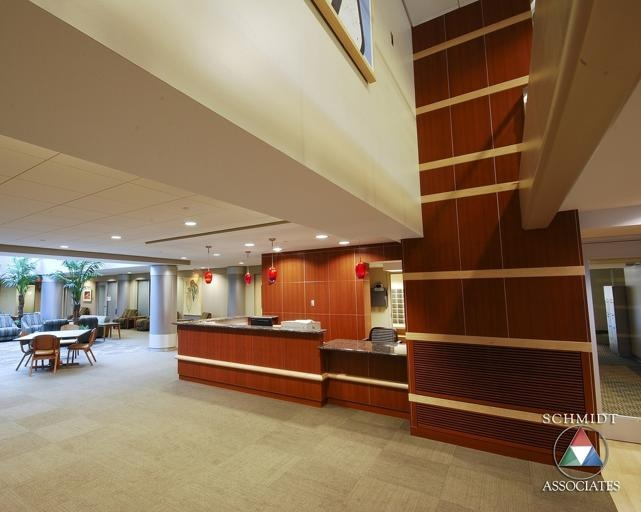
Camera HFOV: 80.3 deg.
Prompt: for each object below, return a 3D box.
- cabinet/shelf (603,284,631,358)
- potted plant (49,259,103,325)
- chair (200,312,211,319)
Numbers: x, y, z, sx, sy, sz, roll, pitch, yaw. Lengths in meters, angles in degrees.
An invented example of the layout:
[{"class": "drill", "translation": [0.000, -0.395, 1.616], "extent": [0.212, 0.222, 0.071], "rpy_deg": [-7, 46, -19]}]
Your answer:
[{"class": "cabinet/shelf", "translation": [3.737, 0.811, 4.780], "extent": [0.190, 0.936, 0.206], "rpy_deg": [-7, 7, 26]}, {"class": "potted plant", "translation": [-8.403, 1.210, 13.051], "extent": [1.343, 2.098, 1.650], "rpy_deg": [4, 7, -44]}, {"class": "chair", "translation": [-4.635, 2.358, 15.377], "extent": [0.607, 0.205, 0.335], "rpy_deg": [-2, -2, 44]}]
